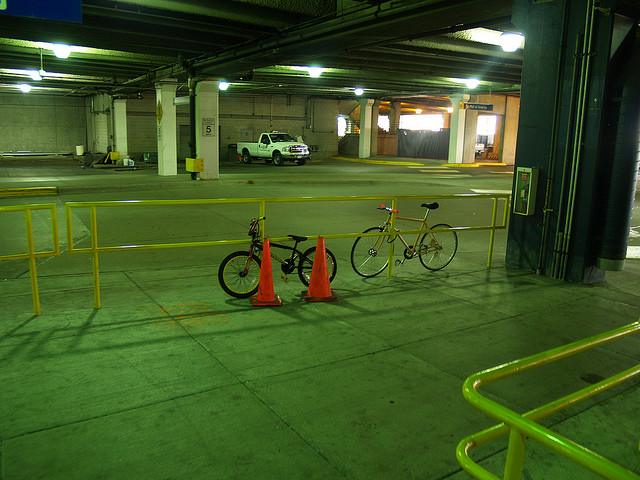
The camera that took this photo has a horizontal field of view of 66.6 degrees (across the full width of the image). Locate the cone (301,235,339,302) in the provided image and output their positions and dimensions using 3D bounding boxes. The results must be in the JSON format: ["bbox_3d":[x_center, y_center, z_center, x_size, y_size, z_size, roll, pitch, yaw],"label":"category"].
[{"bbox_3d":[-0.004,0.443,7.722,0.573,1.019,0.400,-3,14,-12],"label":"cone"}]

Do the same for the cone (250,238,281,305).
[{"bbox_3d":[-0.854,0.471,7.497,0.466,1.003,0.395,-1,14,-6],"label":"cone"}]

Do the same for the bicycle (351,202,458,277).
[{"bbox_3d":[1.642,0.008,9.422,3.055,1.344,1.201,-6,14,-42],"label":"bicycle"}]

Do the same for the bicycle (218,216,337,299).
[{"bbox_3d":[-0.666,0.283,8.094,2.354,1.108,0.981,-3,-2,-39],"label":"bicycle"}]

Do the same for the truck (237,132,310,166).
[{"bbox_3d":[-3.723,-6.990,37.641,5.481,2.364,1.493,10,17,40],"label":"truck"}]
